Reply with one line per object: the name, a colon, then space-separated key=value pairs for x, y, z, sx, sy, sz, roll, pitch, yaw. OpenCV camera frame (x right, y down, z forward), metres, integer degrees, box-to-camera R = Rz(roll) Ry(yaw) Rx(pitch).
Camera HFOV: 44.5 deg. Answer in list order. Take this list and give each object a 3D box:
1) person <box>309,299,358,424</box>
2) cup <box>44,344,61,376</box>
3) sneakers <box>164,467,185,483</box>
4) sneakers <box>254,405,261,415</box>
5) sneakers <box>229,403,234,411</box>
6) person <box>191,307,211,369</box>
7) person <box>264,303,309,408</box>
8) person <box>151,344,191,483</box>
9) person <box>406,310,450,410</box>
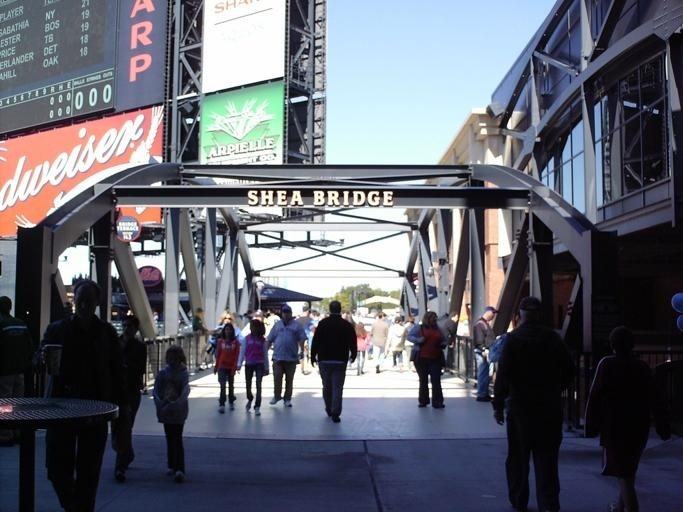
person: x=-0.164 y=2.074 z=16.757 sx=0.899 sy=2.302 sz=1.293 roll=0 pitch=4 yaw=-3
cup: x=-3.897 y=1.410 z=11.274 sx=0.212 sy=0.407 sz=0.151 roll=-2 pitch=5 yaw=-23
sneakers: x=-2.563 y=3.361 z=12.783 sx=0.164 sy=0.130 sz=0.367 roll=23 pitch=-14 yaw=-38
sneakers: x=-1.743 y=3.171 z=17.126 sx=0.114 sy=0.163 sz=0.356 roll=-1 pitch=-9 yaw=-7
sneakers: x=-2.345 y=3.203 z=17.681 sx=0.058 sy=0.120 sz=0.168 roll=1 pitch=4 yaw=0
person: x=-4.133 y=2.444 z=24.375 sx=0.404 sy=1.612 sz=1.693 roll=-1 pitch=5 yaw=-9
person: x=-1.267 y=2.151 z=17.867 sx=0.941 sy=2.214 sz=0.764 roll=1 pitch=-4 yaw=-4
person: x=-2.633 y=2.410 z=12.891 sx=0.518 sy=1.963 sz=0.778 roll=-1 pitch=4 yaw=-14
person: x=1.829 y=2.200 z=17.808 sx=0.724 sy=2.103 sz=0.736 roll=1 pitch=-8 yaw=2
